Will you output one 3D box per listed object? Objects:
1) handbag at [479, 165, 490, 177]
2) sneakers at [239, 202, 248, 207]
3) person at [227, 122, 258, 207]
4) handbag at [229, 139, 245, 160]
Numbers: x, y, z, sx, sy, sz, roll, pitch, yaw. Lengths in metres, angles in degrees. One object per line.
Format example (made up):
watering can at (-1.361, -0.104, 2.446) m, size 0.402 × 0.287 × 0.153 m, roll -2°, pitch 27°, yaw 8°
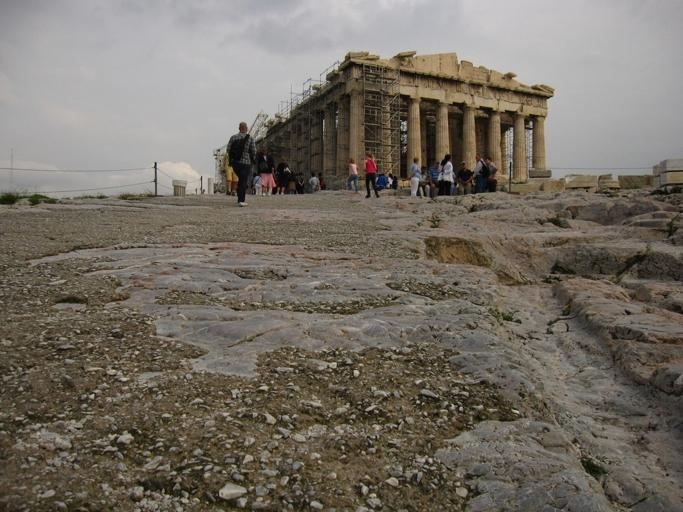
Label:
handbag at (4.633, -2.758, 17.666) m, size 0.364 × 0.422 × 0.198 m, roll 4°, pitch 8°, yaw 12°
sneakers at (-2.254, -1.205, 12.681) m, size 0.087 × 0.087 × 0.214 m, roll 6°, pitch 14°, yaw 28°
person at (-2.301, -2.111, 12.556) m, size 0.772 × 1.875 × 0.661 m, roll -1°, pitch 6°, yaw -40°
handbag at (-2.336, -2.395, 12.307) m, size 0.408 × 0.532 × 0.263 m, roll 3°, pitch 7°, yaw 4°
